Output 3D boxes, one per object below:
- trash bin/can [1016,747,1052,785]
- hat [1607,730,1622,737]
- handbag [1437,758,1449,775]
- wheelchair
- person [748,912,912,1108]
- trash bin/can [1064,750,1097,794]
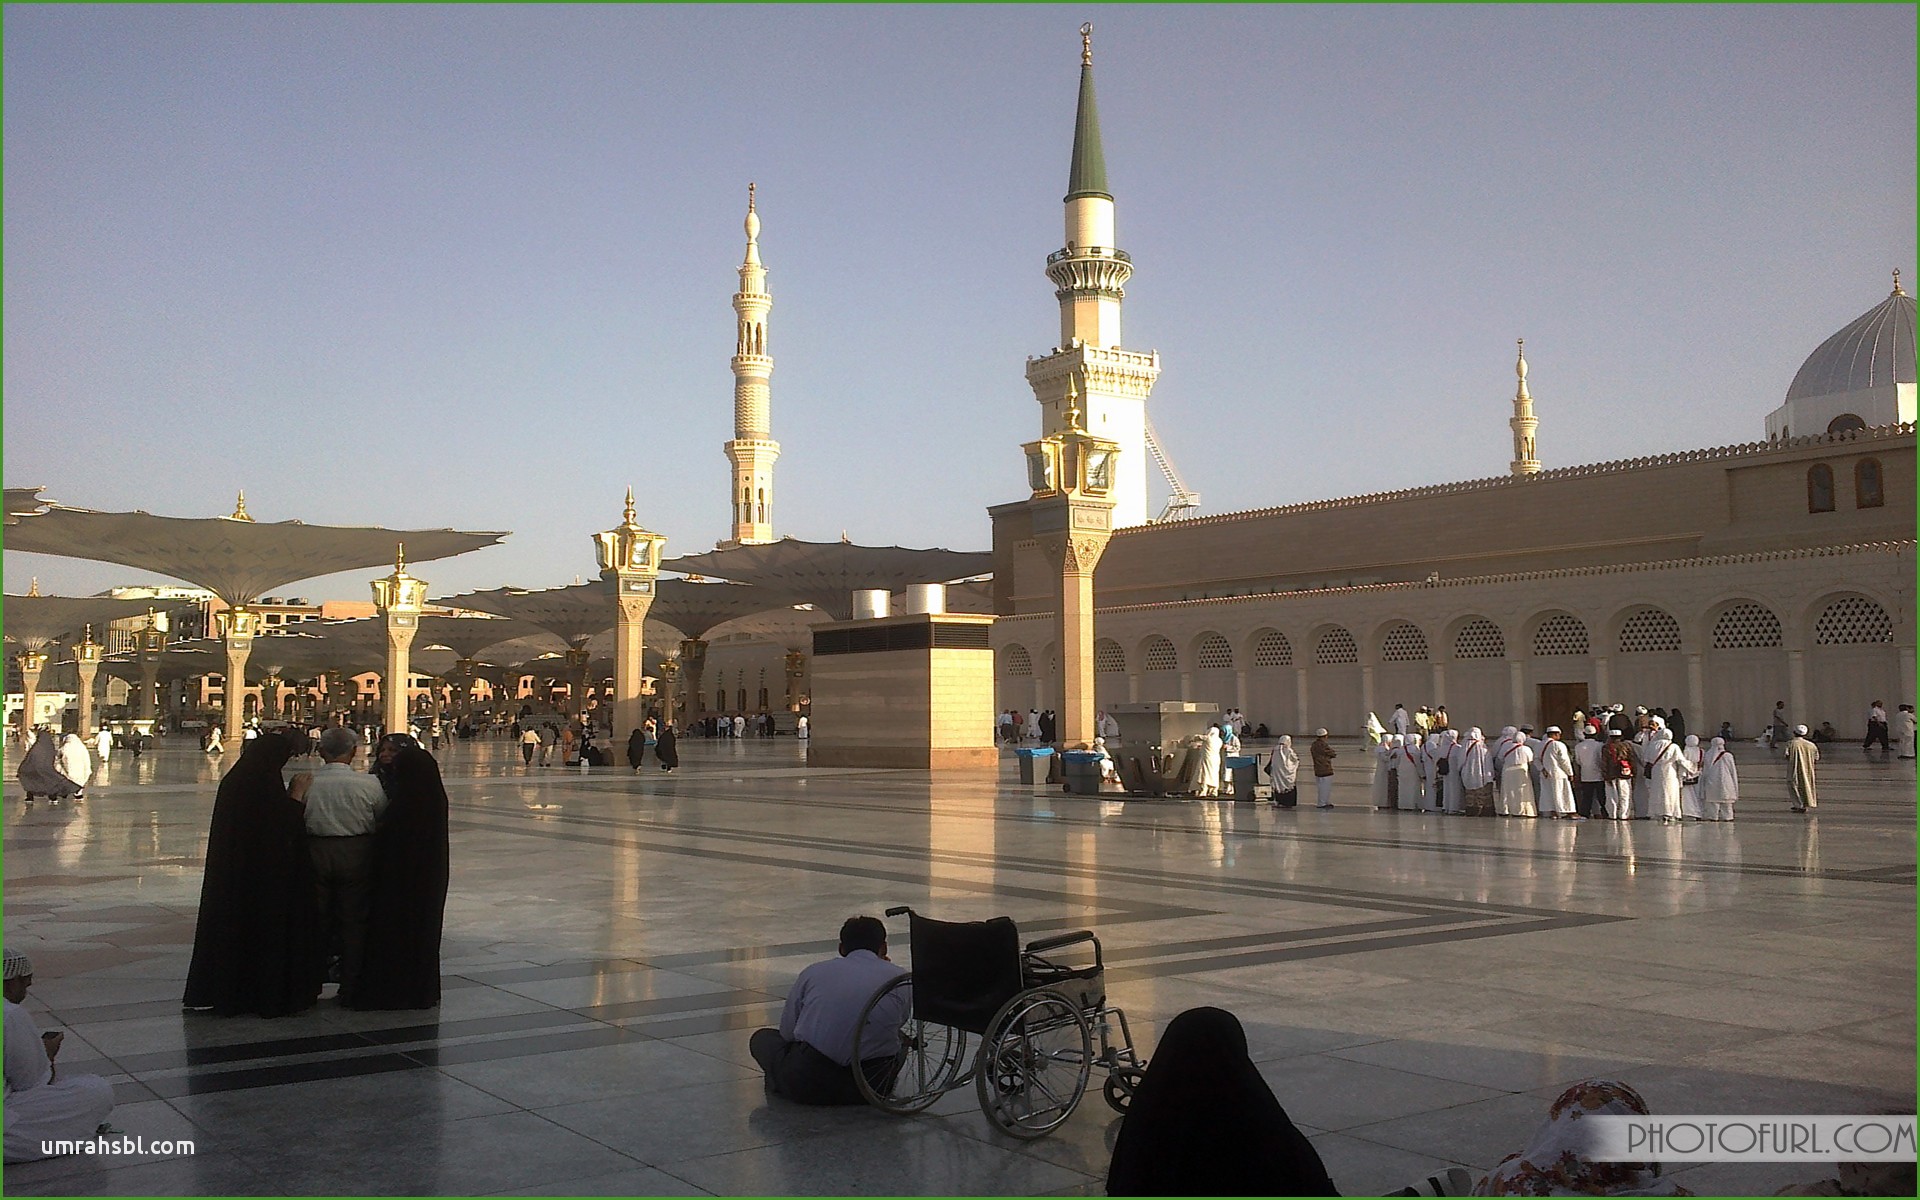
[{"bbox_3d":[1.386,2.943,27.856,0.842,0.692,0.574,5,-12,-33],"label":"trash bin/can"},{"bbox_3d":[8.694,1.756,20.586,0.234,0.065,0.210,0,-2,-20],"label":"hat"},{"bbox_3d":[6.662,2.263,21.323,0.125,0.203,0.229,8,-9,-32],"label":"handbag"},{"bbox_3d":[0.326,2.106,8.039,1.500,1.000,0.933,0,-1,-41],"label":"wheelchair"},{"bbox_3d":[-0.620,2.149,8.150,0.883,0.950,0.725,11,-22,-12],"label":"person"},{"bbox_3d":[1.937,2.734,24.709,0.732,0.598,0.514,-2,-5,10],"label":"trash bin/can"}]
